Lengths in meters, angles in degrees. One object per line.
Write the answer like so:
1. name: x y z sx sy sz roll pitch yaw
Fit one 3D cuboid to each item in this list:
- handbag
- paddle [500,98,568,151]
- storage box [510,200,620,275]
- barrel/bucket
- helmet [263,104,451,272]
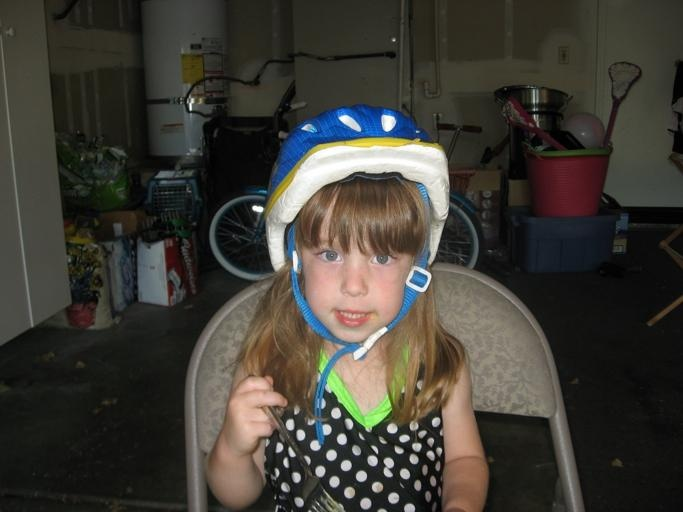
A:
1. handbag: -1.487 0.134 4.015 0.891 0.695 0.554 1 13 13
2. paddle: 1.396 -1.030 4.580 0.218 0.088 0.755 -26 64 -37
3. storage box: 1.772 -0.158 4.726 0.651 0.384 0.517 -2 11 2
4. barrel/bucket: 1.745 -0.568 4.571 0.509 0.456 0.568 -3 6 -5
5. helmet: 0.040 -0.238 1.800 0.346 0.451 0.450 0 24 -4
